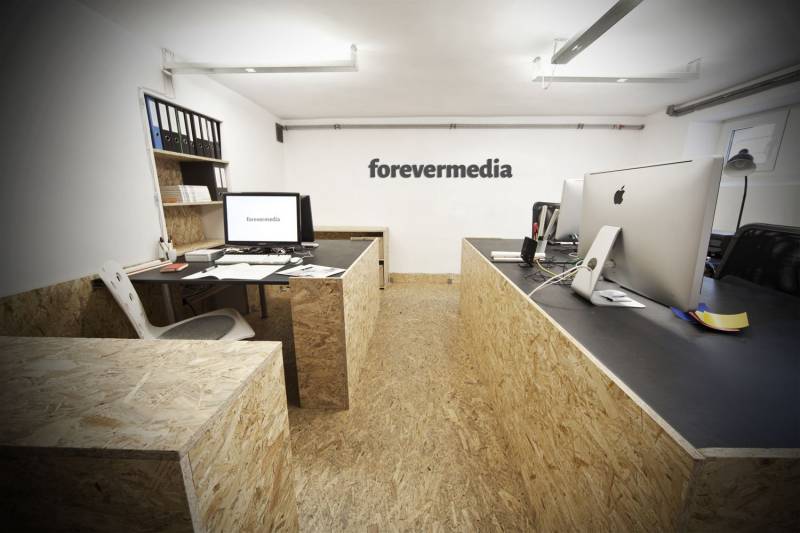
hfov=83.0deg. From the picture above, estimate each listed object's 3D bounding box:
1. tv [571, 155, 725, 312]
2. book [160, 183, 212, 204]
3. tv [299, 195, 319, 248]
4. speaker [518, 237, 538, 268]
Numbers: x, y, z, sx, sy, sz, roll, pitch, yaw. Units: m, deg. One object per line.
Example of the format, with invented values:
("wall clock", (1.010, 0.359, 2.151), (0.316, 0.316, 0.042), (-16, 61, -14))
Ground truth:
("tv", (1.406, -0.215, 2.904), (0.347, 0.882, 0.998), (2, 7, -19))
("book", (-1.961, -0.667, 4.186), (0.205, 0.168, 0.584), (4, 13, 16))
("tv", (-0.929, -0.472, 4.355), (0.238, 0.446, 0.450), (-6, 14, -12))
("speaker", (0.999, -0.101, 3.522), (0.079, 0.226, 0.221), (3, 22, -16))
